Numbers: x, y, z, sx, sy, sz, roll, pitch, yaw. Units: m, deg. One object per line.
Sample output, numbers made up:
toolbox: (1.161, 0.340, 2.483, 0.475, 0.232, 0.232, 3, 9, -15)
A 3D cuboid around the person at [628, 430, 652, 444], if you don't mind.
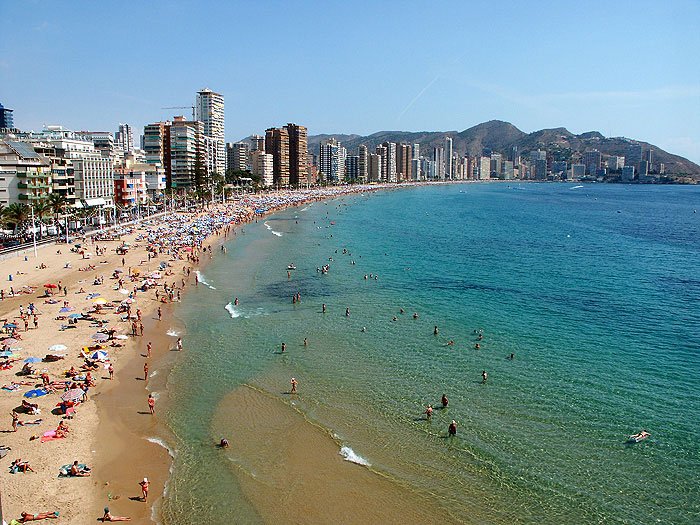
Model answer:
person: (16.425, 9.919, 29.809, 0.634, 0.231, 1.084, -17, -3, 11)
